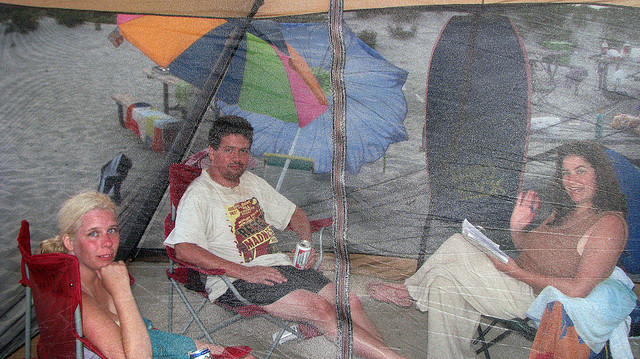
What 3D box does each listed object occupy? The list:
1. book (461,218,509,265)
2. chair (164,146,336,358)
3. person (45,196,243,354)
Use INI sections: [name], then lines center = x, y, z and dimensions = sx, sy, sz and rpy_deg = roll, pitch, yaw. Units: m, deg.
[book]
center = 0.684, 0.266, 2.303
dimensions = 0.276, 0.088, 0.071
rpy_deg = 38, 29, 12
[chair]
center = -0.288, 0.351, 2.440
dimensions = 0.861, 0.852, 0.711
rpy_deg = -15, 23, -38
[person]
center = -0.891, 0.460, 2.390
dimensions = 0.690, 0.698, 0.337
rpy_deg = 14, 21, 27
